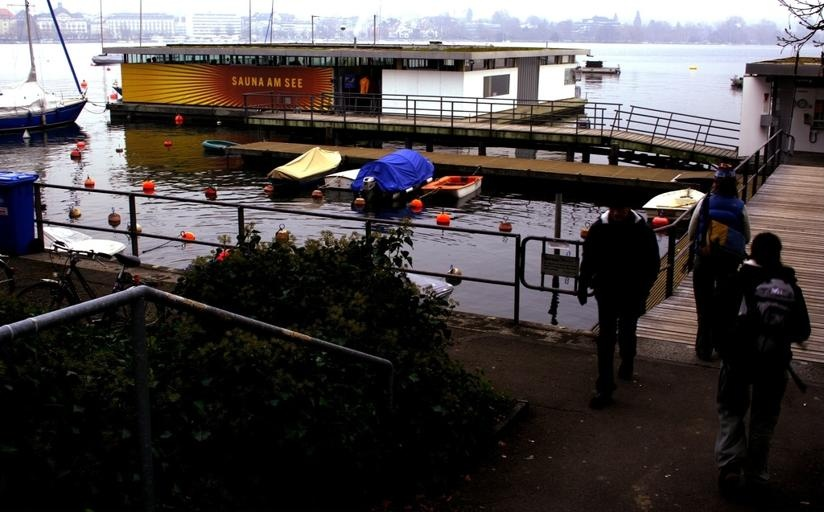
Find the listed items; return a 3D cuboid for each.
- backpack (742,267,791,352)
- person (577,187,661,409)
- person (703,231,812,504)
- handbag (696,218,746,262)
[{"bbox_3d":[3.149,0.527,6.649,0.416,0.644,0.249,6,16,21],"label":"backpack"},{"bbox_3d":[2.258,0.448,8.230,0.793,2.279,0.651,-3,15,-14],"label":"person"},{"bbox_3d":[3.106,0.987,6.735,0.676,2.309,0.679,11,18,35],"label":"person"},{"bbox_3d":[3.633,-0.187,9.069,0.677,0.559,0.471,-7,-31,30],"label":"handbag"}]
